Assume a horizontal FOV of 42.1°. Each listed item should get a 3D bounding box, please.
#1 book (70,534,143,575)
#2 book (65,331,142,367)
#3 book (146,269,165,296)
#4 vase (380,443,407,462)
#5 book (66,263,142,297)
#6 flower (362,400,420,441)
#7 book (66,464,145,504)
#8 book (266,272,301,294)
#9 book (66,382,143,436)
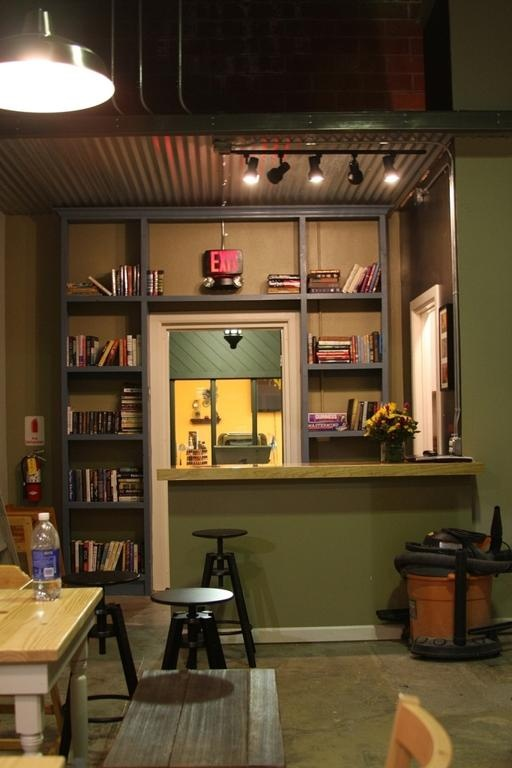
[{"bbox_3d":[-1.224,1.435,5.495,0.588,0.261,0.088,-2,-5,5],"label":"book"},{"bbox_3d":[-1.285,-0.281,5.711,0.604,0.318,0.322,-1,-5,2],"label":"book"},{"bbox_3d":[-0.850,-0.873,5.828,0.176,0.310,0.233,0,3,-2],"label":"book"},{"bbox_3d":[0.924,0.449,4.432,0.162,0.157,0.160,1,-10,-2],"label":"vase"},{"bbox_3d":[-1.247,-0.852,5.688,0.451,0.197,0.364,-1,0,13],"label":"book"},{"bbox_3d":[0.897,0.221,4.410,0.285,0.281,0.295,-1,2,16],"label":"flower"},{"bbox_3d":[-1.237,0.844,5.506,0.587,0.274,0.185,0,-5,-17],"label":"book"},{"bbox_3d":[0.251,-0.875,5.758,0.273,0.202,0.133,-2,-5,5],"label":"book"},{"bbox_3d":[-1.262,0.220,5.582,0.612,0.425,0.215,0,-5,-14],"label":"book"}]
